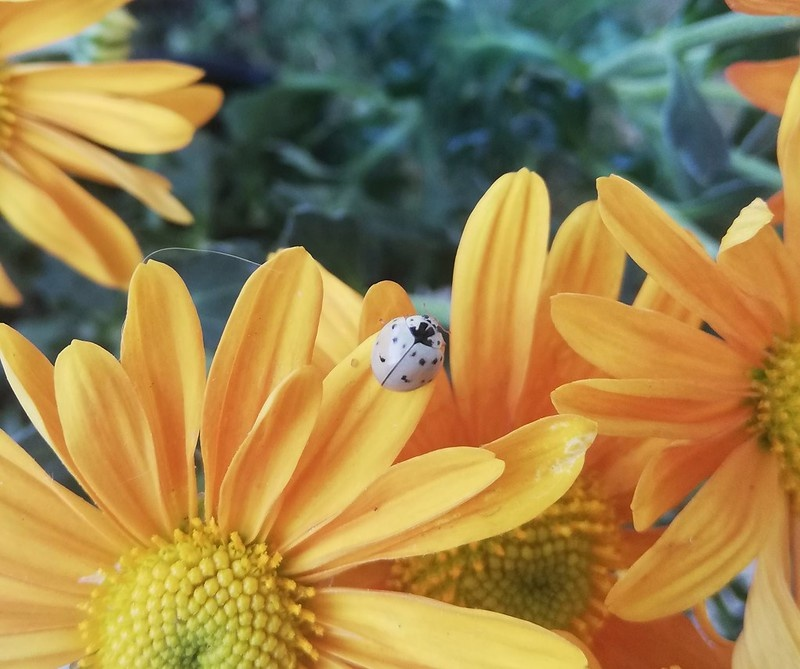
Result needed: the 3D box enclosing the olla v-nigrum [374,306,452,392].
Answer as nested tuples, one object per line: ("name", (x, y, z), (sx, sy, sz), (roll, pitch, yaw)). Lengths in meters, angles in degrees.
("olla v-nigrum", (0.003, 0.007, 0.455), (0.031, 0.018, 0.042), (32, 74, -6))
